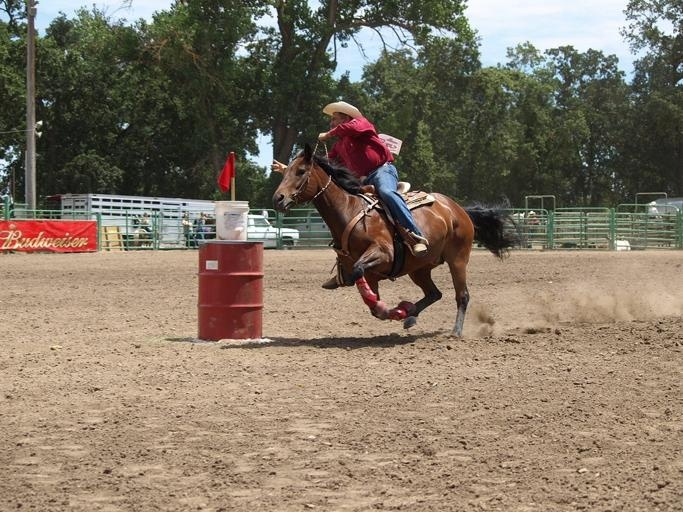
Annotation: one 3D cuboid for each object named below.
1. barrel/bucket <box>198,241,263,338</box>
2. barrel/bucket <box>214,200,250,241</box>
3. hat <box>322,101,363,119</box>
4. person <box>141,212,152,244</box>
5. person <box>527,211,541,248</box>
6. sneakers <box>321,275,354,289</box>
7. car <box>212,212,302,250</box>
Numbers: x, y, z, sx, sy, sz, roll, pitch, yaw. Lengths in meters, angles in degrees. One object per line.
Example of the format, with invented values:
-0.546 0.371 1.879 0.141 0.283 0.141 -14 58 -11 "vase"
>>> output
-1.696 0.509 15.906 0.908 1.478 0.313 -1 0 0 "barrel/bucket"
-1.776 -0.529 15.977 0.596 0.537 0.598 0 -3 0 "barrel/bucket"
-0.019 -2.288 16.328 0.600 0.254 0.495 -1 0 26 "hat"
-7.451 -1.053 40.110 0.377 1.236 0.502 -1 0 17 "person"
6.991 -0.975 38.548 0.385 1.416 0.401 -7 -30 24 "person"
-0.070 0.411 16.313 0.599 0.233 0.184 5 9 38 "sneakers"
-2.880 -0.966 40.215 2.662 1.327 1.457 -2 3 -3 "car"
